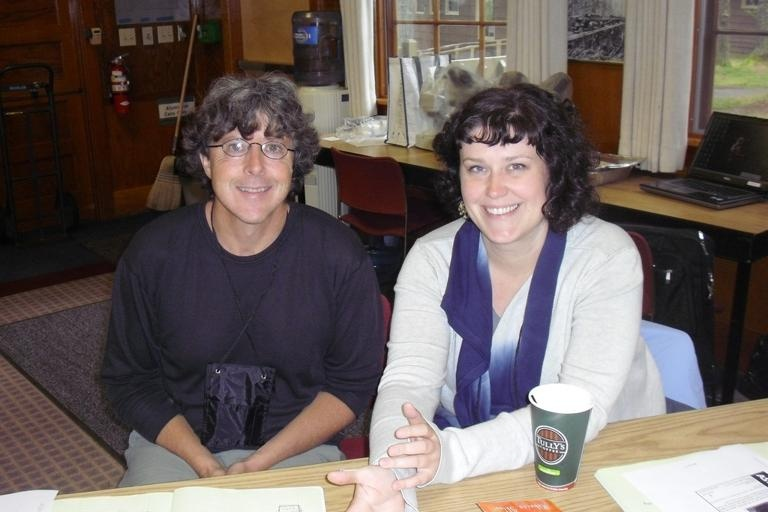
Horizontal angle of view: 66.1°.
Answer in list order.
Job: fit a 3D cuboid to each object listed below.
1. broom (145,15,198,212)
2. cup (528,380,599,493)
[{"bbox_3d":[-1.968,-1.419,5.828,0.490,2.194,0.315,3,-17,-12],"label":"broom"},{"bbox_3d":[0.395,0.396,1.307,0.143,0.206,0.125,-3,20,2],"label":"cup"}]
